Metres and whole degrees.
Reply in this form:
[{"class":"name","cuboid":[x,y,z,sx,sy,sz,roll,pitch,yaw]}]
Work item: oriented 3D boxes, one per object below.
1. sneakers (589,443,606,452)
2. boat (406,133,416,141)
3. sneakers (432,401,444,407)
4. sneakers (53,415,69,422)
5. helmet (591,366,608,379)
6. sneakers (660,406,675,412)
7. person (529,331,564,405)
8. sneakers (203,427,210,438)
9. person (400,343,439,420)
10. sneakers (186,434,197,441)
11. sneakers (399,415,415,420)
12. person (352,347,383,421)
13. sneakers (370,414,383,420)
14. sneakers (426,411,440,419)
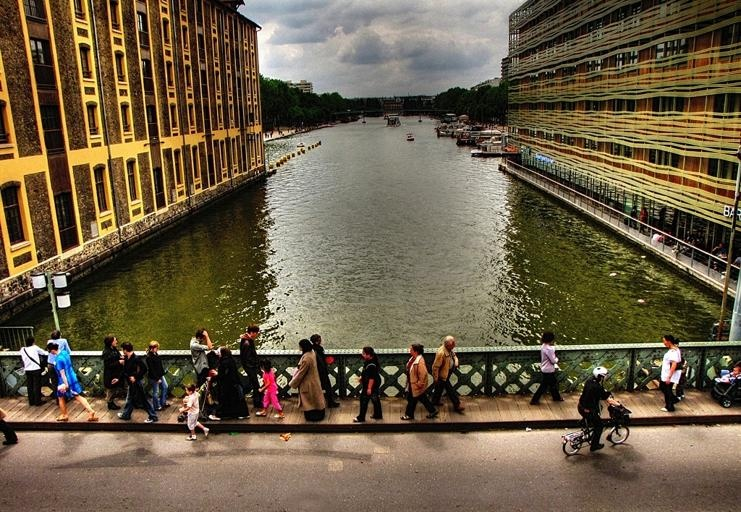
[{"class":"sneakers","cuboid":[6.308,5.352,14.034,0.301,0.201,0.119,-28,43,-5]},{"class":"boat","cuboid":[12.151,-35.053,148.475,2.164,2.660,6.435,-1,15,3]},{"class":"sneakers","cuboid":[2.117,4.573,15.531,0.406,0.165,0.136,-2,32,-4]},{"class":"sneakers","cuboid":[-9.420,4.972,15.385,0.462,0.191,0.157,8,8,-2]},{"class":"helmet","cuboid":[6.329,3.203,13.876,0.261,0.322,0.384,11,19,42]},{"class":"sneakers","cuboid":[8.879,4.614,15.049,0.336,0.132,0.134,8,42,5]},{"class":"person","cuboid":[5.433,3.371,15.353,1.066,2.323,0.670,-14,18,-42]},{"class":"sneakers","cuboid":[-4.850,5.298,15.043,0.096,0.279,0.120,-1,7,-42]},{"class":"person","cuboid":[1.419,3.703,14.972,0.998,2.338,0.553,-1,14,3]},{"class":"sneakers","cuboid":[-5.262,5.388,14.929,0.322,0.184,0.145,5,21,-7]},{"class":"sneakers","cuboid":[1.113,4.835,15.071,0.343,0.133,0.159,3,38,3]},{"class":"person","cuboid":[-0.072,3.898,15.195,1.144,2.449,1.031,5,36,6]},{"class":"sneakers","cuboid":[0.213,4.855,15.134,0.395,0.265,0.133,-1,-3,4]},{"class":"sneakers","cuboid":[1.865,4.784,15.124,0.155,0.166,0.422,11,-8,-29]}]
